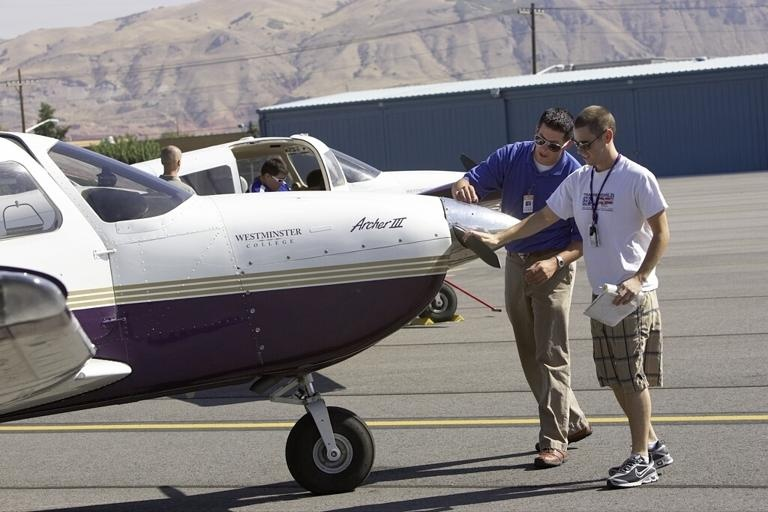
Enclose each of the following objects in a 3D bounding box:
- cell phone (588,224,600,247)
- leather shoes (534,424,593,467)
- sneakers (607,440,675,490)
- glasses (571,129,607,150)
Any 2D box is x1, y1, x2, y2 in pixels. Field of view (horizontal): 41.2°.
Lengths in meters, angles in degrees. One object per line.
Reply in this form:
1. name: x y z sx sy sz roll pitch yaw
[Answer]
1. cell phone: 1.562 -0.165 7.597 0.051 0.139 0.092 3 -2 -36
2. leather shoes: 1.422 1.471 7.973 0.622 0.229 0.195 -5 8 -40
3. sneakers: 1.918 1.528 7.558 0.620 0.238 0.212 -17 12 -19
4. glasses: 1.503 -0.844 7.537 0.162 0.046 0.158 -3 32 44
